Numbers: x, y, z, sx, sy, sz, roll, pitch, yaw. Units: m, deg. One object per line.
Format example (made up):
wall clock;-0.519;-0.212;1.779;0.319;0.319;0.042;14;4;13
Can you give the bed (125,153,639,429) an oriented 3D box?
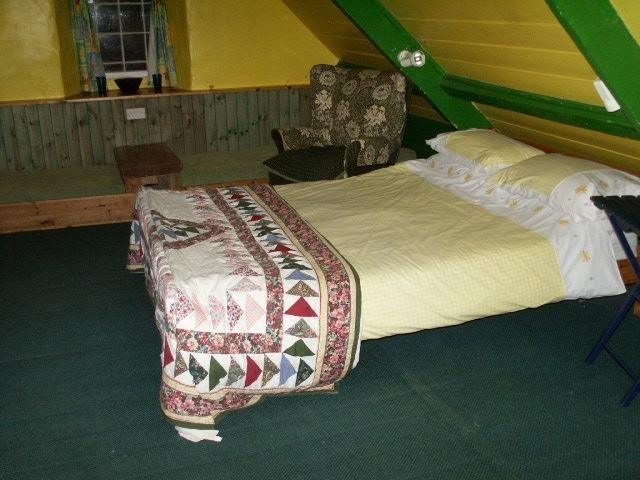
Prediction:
bed;0.328;0.380;3.177;2.607;0.699;1.560;-6;38;-13

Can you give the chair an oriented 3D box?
chair;0.162;-0.998;4.663;0.921;1.042;0.951;-32;49;-30
